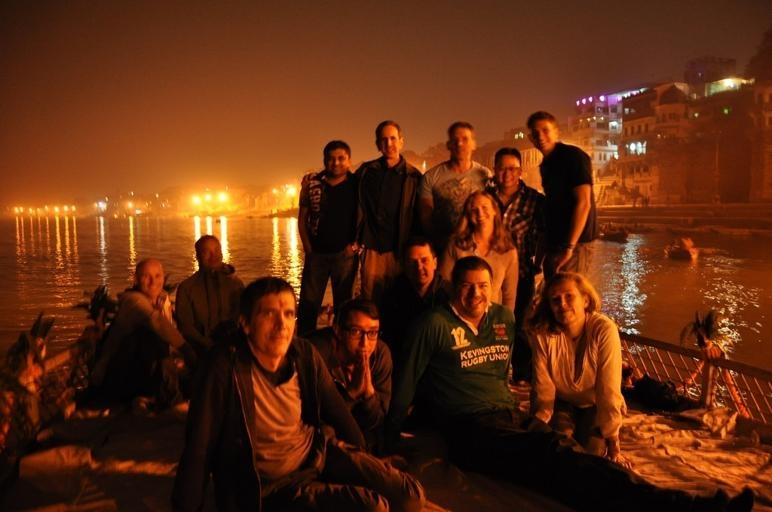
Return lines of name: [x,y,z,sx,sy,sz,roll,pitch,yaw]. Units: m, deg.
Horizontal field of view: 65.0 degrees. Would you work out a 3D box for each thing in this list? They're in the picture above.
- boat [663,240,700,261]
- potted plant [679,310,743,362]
boat: [22.190,-0.324,45.797,1.977,1.026,2.779,0,11,14]
potted plant: [5.238,1.319,10.058,0.593,1.021,0.570,1,-8,4]
